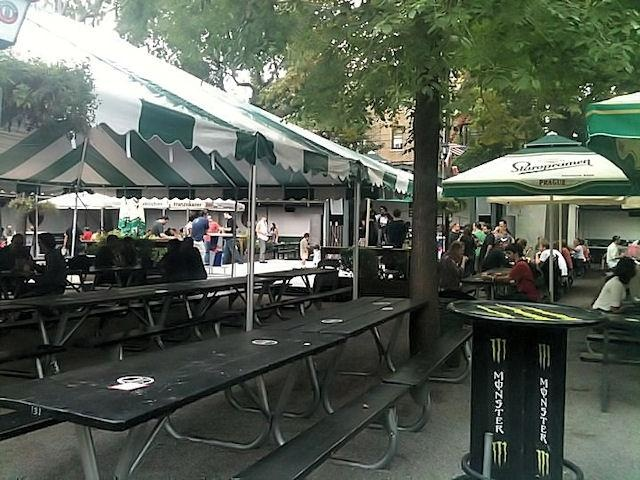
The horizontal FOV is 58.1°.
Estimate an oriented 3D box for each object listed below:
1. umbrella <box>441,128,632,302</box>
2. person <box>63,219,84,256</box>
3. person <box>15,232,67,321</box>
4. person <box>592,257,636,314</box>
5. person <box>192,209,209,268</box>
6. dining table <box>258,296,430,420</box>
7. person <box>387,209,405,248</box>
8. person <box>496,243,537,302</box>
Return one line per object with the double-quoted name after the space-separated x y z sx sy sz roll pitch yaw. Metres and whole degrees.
3.678 -0.514 9.015 2.557 1.672 2.311 -3 6 -18 "umbrella"
-6.881 0.054 15.988 0.371 1.181 0.280 -7 27 -26 "person"
-4.464 0.654 9.026 1.025 1.580 0.622 -3 21 -26 "person"
3.901 0.586 7.642 0.426 0.714 0.629 5 4 41 "person"
-3.565 -0.061 17.088 0.481 1.586 0.529 6 18 -1 "person"
0.421 1.264 6.332 0.898 0.892 2.547 2 2 27 "dining table"
2.138 -0.285 16.148 0.559 1.164 0.336 6 29 17 "person"
3.032 0.526 8.992 0.701 0.921 0.656 4 -7 -4 "person"
